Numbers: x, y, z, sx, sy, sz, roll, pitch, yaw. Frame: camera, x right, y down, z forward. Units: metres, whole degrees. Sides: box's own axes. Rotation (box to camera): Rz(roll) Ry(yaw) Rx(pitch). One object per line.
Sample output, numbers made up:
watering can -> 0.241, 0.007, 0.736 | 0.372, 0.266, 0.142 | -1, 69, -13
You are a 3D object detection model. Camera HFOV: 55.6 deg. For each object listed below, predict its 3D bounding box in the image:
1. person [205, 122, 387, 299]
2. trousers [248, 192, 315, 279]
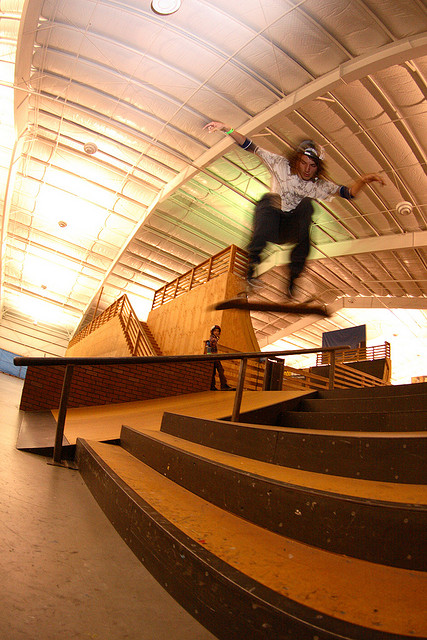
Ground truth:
person -> 0.601, -0.828, 3.199 | 1.524, 1.237, 0.544 | 14, -15, -7
trousers -> 0.504, -0.657, 3.051 | 0.441, 0.789, 0.569 | -6, -6, 21
